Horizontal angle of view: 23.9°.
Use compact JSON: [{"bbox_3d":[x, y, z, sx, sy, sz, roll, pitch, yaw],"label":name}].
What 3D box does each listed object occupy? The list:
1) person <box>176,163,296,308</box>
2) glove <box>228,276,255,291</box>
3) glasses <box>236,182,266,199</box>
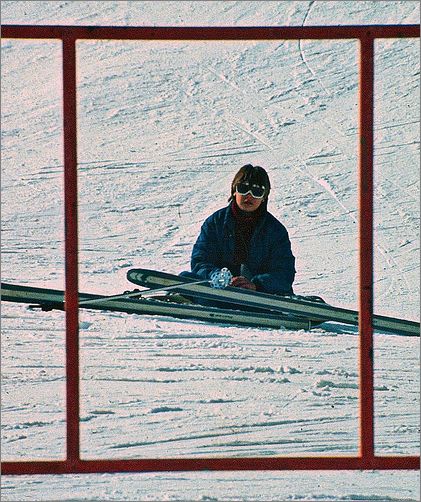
[{"bbox_3d":[0.227,-0.080,7.893,1.089,1.073,0.954,-5,19,-33],"label":"person"},{"bbox_3d":[0.262,0.264,7.912,0.197,0.114,0.059,-1,-12,11],"label":"glove"},{"bbox_3d":[0.319,-0.479,7.926,0.230,0.119,0.077,2,-11,-2],"label":"glasses"}]
